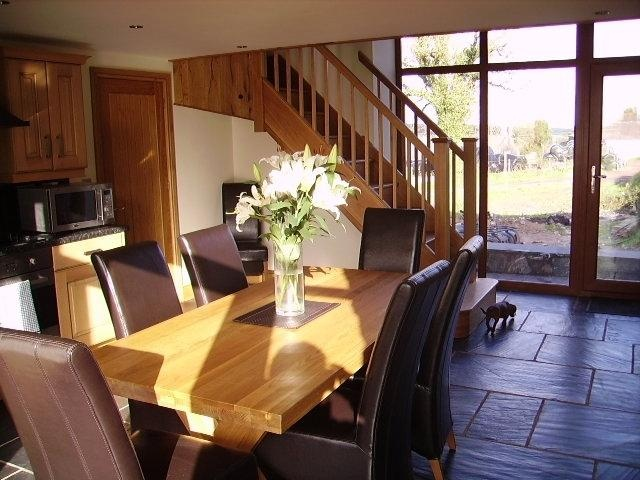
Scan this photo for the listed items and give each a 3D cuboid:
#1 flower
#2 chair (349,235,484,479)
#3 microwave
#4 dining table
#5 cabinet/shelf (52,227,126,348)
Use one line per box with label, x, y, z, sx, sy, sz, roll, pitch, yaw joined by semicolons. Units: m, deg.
flower;-0.149;-0.008;2.465;0.570;0.764;0.595;-3;14;-26
chair;0.633;0.529;3.128;0.948;1.776;0.936;2;8;23
microwave;-2.213;-0.305;4.238;0.399;0.413;0.613;15;19;32
dining table;-0.315;0.611;2.456;0.901;0.370;1.508;5;10;19
cabinet/shelf;-1.952;0.540;4.415;0.753;1.019;0.744;-8;-14;-15
